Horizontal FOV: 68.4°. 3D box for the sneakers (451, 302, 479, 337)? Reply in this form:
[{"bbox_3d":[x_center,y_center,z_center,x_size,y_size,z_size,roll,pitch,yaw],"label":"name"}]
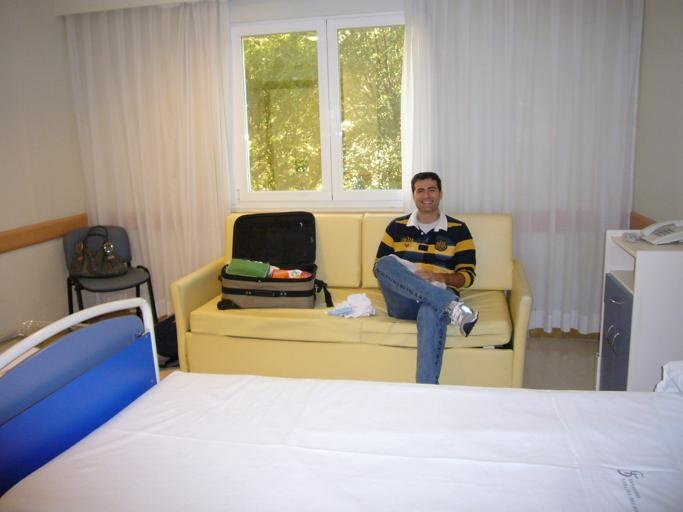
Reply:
[{"bbox_3d":[0.690,0.358,2.799,0.108,0.108,0.245,9,3,3],"label":"sneakers"}]

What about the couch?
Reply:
[{"bbox_3d":[0.104,0.351,3.599,2.292,1.198,1.092,1,11,9],"label":"couch"}]

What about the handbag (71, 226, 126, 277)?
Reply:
[{"bbox_3d":[-2.023,-0.020,4.149,0.351,0.376,0.202,3,-22,-33],"label":"handbag"}]

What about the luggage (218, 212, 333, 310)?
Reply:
[{"bbox_3d":[-0.445,0.037,3.484,0.744,0.605,0.647,5,15,16],"label":"luggage"}]
